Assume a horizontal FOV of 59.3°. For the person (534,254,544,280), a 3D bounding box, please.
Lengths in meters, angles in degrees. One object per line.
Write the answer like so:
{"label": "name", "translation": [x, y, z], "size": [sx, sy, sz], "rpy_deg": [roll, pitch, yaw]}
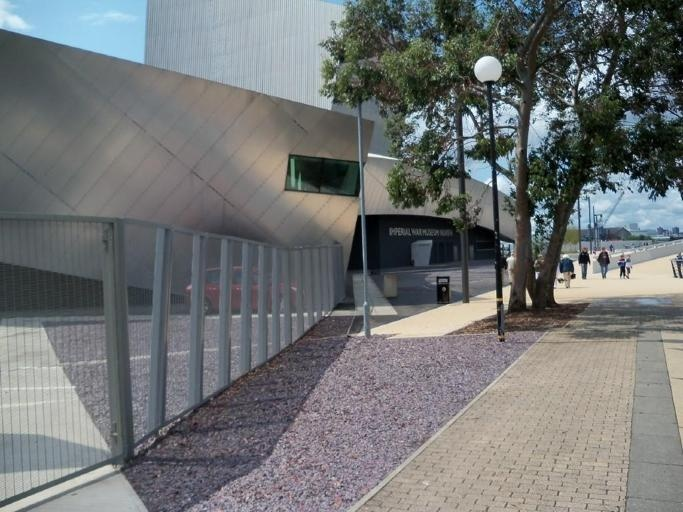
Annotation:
{"label": "person", "translation": [6.871, 0.403, 20.834], "size": [0.243, 1.177, 1.086], "rpy_deg": [-1, -38, 15]}

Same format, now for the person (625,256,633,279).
{"label": "person", "translation": [15.782, 0.613, 32.984], "size": [0.266, 1.228, 2.153], "rpy_deg": [0, 3, 26]}

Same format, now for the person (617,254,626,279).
{"label": "person", "translation": [15.376, 0.565, 32.777], "size": [0.297, 1.276, 1.161], "rpy_deg": [0, 3, 26]}

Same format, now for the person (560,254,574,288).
{"label": "person", "translation": [10.599, 0.734, 28.104], "size": [0.534, 1.461, 2.878], "rpy_deg": [0, 3, 21]}
